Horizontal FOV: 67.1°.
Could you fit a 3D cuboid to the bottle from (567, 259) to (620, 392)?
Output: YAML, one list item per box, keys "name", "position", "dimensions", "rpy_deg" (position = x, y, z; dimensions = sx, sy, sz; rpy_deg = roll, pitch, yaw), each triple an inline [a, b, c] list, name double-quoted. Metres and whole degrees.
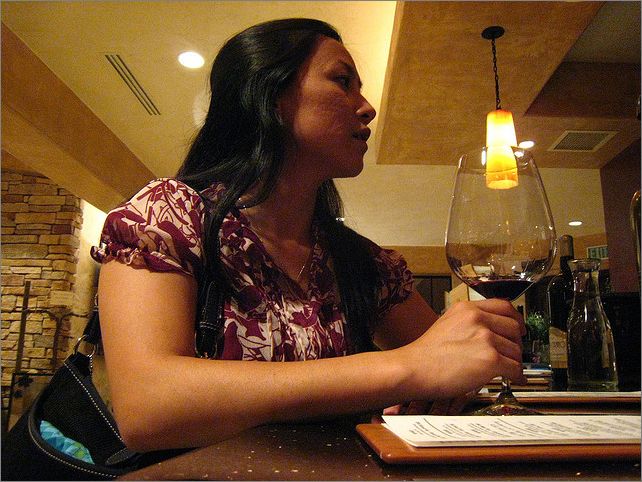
- name: "bottle"
  position: [0.658, 0.198, 1.166]
  dimensions: [0.107, 0.311, 0.135]
  rpy_deg: [0, 4, 27]

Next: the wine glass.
- name: "wine glass"
  position: [0.301, -0.024, 0.816]
  dimensions: [0.177, 0.268, 0.102]
  rpy_deg: [-1, 4, 5]

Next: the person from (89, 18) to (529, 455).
- name: "person"
  position: [-0.033, 0.154, 1.406]
  dimensions: [0.942, 1.240, 0.903]
  rpy_deg: [-16, -31, 20]
